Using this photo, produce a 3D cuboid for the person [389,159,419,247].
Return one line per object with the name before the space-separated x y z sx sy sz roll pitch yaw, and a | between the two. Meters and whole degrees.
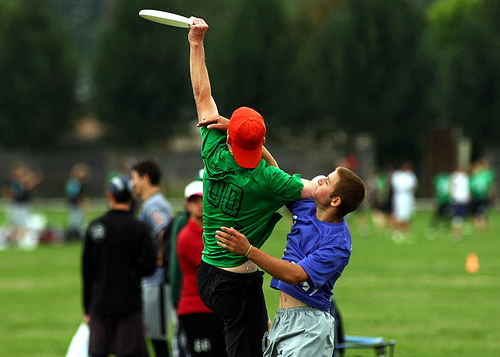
person | 5.951 0.911 42.395 0.885 4.095 0.771 2 10 5
